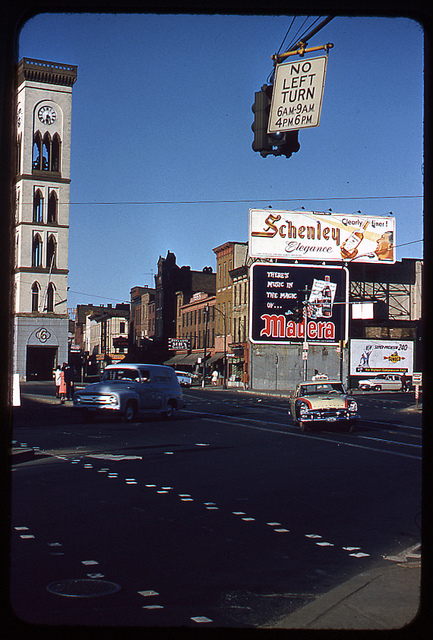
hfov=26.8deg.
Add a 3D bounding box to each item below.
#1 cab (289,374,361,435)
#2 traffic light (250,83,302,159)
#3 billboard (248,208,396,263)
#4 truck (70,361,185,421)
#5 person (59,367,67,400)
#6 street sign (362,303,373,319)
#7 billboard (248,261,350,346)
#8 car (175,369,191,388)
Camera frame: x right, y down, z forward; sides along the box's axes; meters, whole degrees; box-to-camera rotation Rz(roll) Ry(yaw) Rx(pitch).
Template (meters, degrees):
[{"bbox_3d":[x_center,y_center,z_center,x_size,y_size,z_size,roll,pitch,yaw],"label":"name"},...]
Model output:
[{"bbox_3d":[2.503,1.998,21.995,1.368,1.191,2.687,-3,-1,-1],"label":"cab"},{"bbox_3d":[0.618,-2.158,10.090,0.276,0.772,0.594,4,-4,-29],"label":"traffic light"},{"bbox_3d":[7.258,-5.763,62.641,10.025,3.619,0.156,3,-13,-2],"label":"billboard"},{"bbox_3d":[-2.270,1.892,23.944,1.489,1.291,2.798,-4,-9,34],"label":"truck"},{"bbox_3d":[-5.349,2.145,31.843,0.222,0.971,0.839,3,-3,-10],"label":"person"},{"bbox_3d":[9.719,-0.572,59.238,0.840,1.254,0.845,0,-1,6],"label":"street sign"},{"bbox_3d":[5.376,-0.933,60.337,6.617,5.414,0.313,2,-7,6],"label":"billboard"},{"bbox_3d":[-2.259,4.061,59.659,1.341,1.201,3.310,1,2,-1],"label":"car"}]
